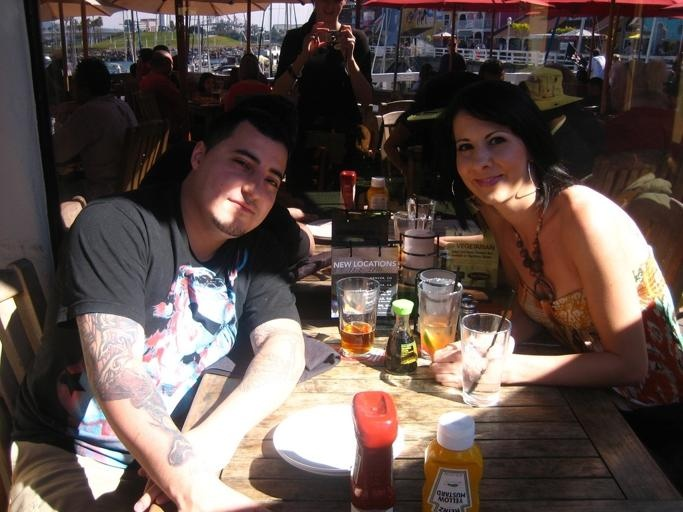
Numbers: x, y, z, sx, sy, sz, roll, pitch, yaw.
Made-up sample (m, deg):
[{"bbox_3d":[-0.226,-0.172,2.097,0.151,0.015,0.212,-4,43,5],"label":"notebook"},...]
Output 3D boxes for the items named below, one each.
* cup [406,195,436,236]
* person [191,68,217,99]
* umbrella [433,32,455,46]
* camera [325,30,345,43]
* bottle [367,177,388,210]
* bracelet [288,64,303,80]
[{"bbox_3d":[0.359,-0.198,2.285,0.154,0.193,0.191,-1,7,-2],"label":"cup"},{"bbox_3d":[-2.391,-3.004,8.655,0.370,0.437,1.272,-4,17,-13],"label":"person"},{"bbox_3d":[1.274,-2.686,6.121,0.184,0.171,0.309,13,22,38],"label":"umbrella"},{"bbox_3d":[-0.052,-1.677,3.791,0.111,0.106,0.029,2,4,6],"label":"camera"},{"bbox_3d":[0.177,-0.308,2.450,0.102,0.150,0.244,1,17,5],"label":"bottle"},{"bbox_3d":[-0.374,-1.435,3.903,0.110,0.078,0.116,5,3,-41],"label":"bracelet"}]
